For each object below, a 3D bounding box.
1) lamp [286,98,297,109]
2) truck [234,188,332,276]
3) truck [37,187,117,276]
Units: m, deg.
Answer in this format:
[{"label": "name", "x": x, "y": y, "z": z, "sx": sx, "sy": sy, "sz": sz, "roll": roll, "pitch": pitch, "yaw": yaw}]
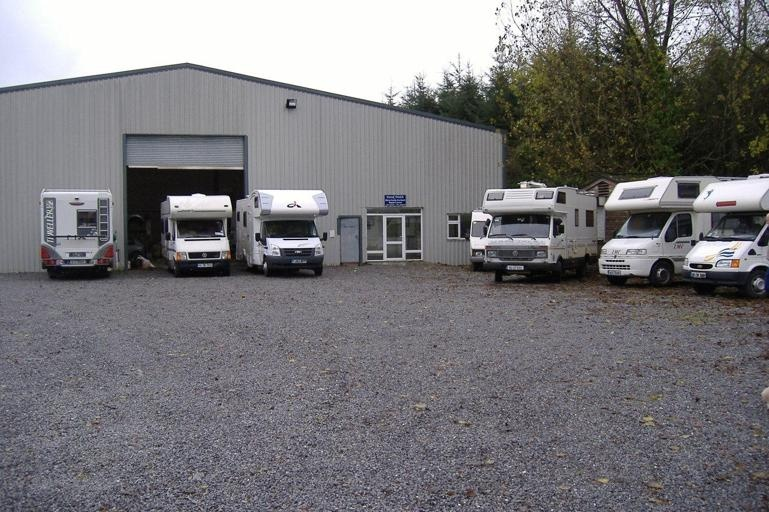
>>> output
[{"label": "lamp", "x": -4.464, "y": -7.329, "z": 30.724, "sx": 0.434, "sy": 0.476, "sz": 0.432, "roll": 0, "pitch": -2, "yaw": -19}, {"label": "truck", "x": -4.101, "y": -1.034, "z": 25.413, "sx": 2.050, "sy": 2.600, "sz": 5.051, "roll": -1, "pitch": 2, "yaw": -17}, {"label": "truck", "x": -10.919, "y": -0.931, "z": 22.645, "sx": 1.863, "sy": 1.954, "sz": 3.290, "roll": 0, "pitch": 10, "yaw": -17}]
